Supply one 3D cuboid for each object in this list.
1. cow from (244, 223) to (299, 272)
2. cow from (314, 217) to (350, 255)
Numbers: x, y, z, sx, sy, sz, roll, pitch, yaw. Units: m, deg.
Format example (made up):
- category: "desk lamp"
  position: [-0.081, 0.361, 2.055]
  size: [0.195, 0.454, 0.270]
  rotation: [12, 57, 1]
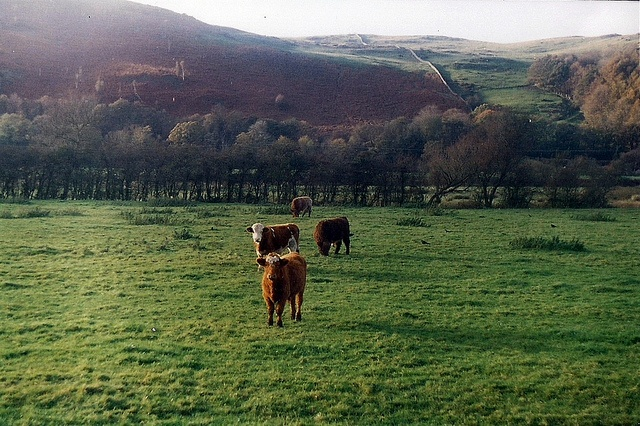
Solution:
- category: "cow"
  position: [-7.259, 4.972, 115.609]
  size: [3.433, 6.561, 12.693]
  rotation: [1, 1, 32]
- category: "cow"
  position: [2.223, 3.760, 121.550]
  size: [2.979, 6.300, 10.886]
  rotation: [-8, 11, 25]
